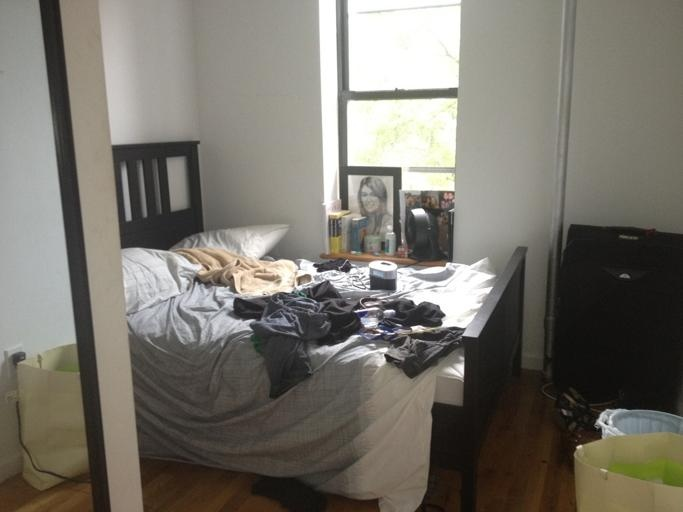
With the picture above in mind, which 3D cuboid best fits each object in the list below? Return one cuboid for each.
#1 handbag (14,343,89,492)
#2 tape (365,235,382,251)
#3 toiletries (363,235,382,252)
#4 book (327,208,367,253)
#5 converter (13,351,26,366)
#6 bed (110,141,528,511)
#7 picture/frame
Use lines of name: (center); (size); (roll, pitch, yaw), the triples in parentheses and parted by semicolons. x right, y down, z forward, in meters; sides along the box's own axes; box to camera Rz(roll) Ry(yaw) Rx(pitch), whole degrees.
handbag: (-0.832, 0.476, 1.629); (0.191, 0.363, 0.271); (8, 8, 20)
tape: (0.244, -0.101, 4.121); (0.105, 0.125, 0.109); (5, 12, 30)
toiletries: (0.228, -0.092, 4.066); (0.109, 0.130, 0.112); (4, 13, 20)
book: (0.061, -0.211, 4.179); (0.264, 0.372, 0.369); (3, 9, 20)
converter: (-0.878, 0.274, 1.469); (0.020, 0.035, 0.038); (2, 6, 4)
bed: (-0.105, 0.494, 2.749); (1.586, 1.103, 1.151); (2, 23, 14)
picture/frame: (0.233, -0.347, 4.080); (0.546, 0.773, 0.050); (7, 18, 25)
